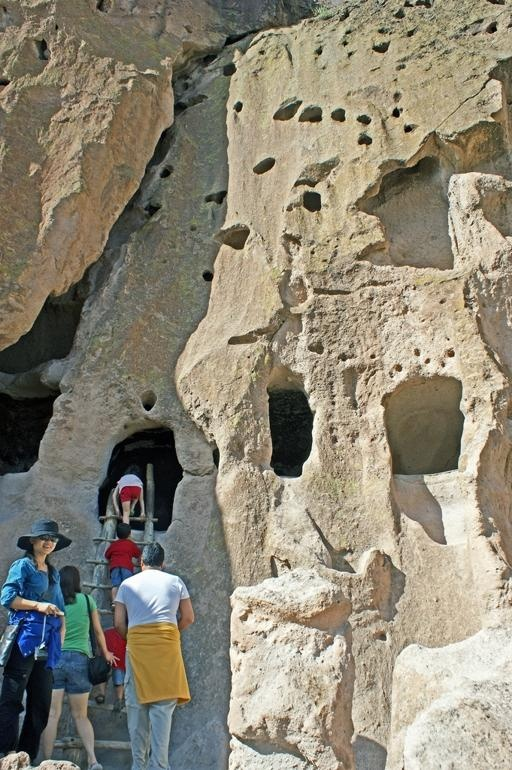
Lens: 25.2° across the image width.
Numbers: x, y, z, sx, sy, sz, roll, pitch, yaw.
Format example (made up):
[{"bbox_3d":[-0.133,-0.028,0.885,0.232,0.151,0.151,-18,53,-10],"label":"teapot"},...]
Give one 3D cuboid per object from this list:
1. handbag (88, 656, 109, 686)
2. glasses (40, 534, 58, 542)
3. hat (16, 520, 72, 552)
[{"bbox_3d":[-0.672,1.186,4.835,0.098,0.137,0.069,10,-20,-32],"label":"handbag"},{"bbox_3d":[-0.862,0.627,4.796,0.036,0.012,0.036,-24,-33,32],"label":"glasses"},{"bbox_3d":[-0.978,0.682,5.243,0.169,0.101,0.194,-5,-35,1],"label":"hat"}]
